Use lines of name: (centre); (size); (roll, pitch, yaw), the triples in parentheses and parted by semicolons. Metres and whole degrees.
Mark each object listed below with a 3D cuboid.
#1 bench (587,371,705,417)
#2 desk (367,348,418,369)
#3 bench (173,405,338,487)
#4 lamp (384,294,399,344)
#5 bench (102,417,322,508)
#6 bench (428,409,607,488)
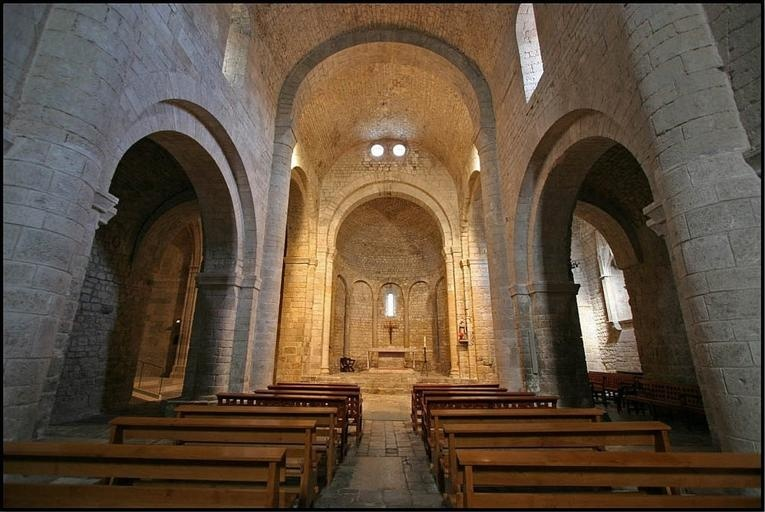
bench: (6.151, 3.258, 10.160); (1.666, 0.871, 4.639); (-5, -15, 18)
desk: (0.485, 4.611, 19.573); (2.353, 0.918, 0.491); (-3, -17, 11)
bench: (-1.679, 2.360, 5.259); (1.633, 0.627, 0.591); (3, -27, 1)
lamp: (0.430, 2.851, 20.237); (0.602, 2.552, 0.539); (2, -17, -3)
bench: (-1.717, 2.062, 4.254); (1.371, 0.516, 0.592); (-1, -15, 4)
bench: (1.471, 2.019, 4.496); (1.316, 0.497, 0.631); (1, -11, -1)
